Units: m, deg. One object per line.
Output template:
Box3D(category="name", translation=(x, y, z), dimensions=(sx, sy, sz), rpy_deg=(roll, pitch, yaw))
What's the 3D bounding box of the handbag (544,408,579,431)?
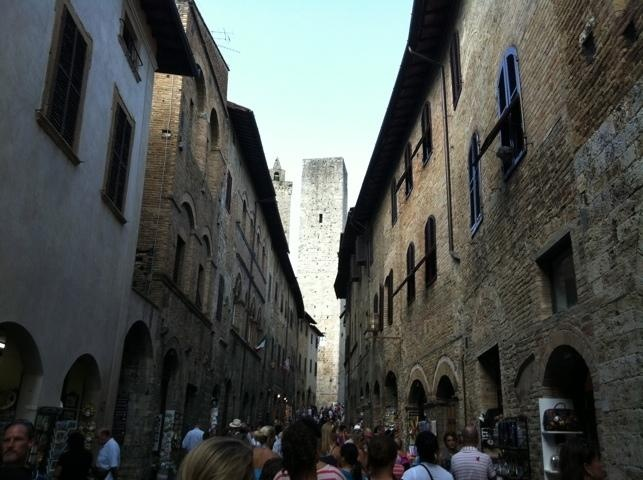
Box3D(category="handbag", translation=(3.436, 2.591, 6.885), dimensions=(0.284, 0.264, 0.111), rpy_deg=(-3, -28, 15))
